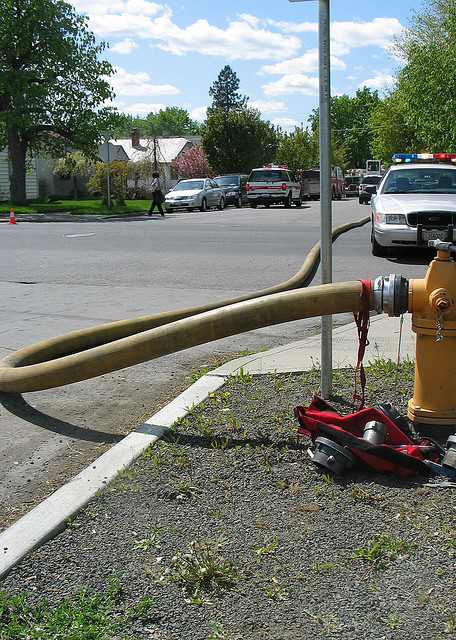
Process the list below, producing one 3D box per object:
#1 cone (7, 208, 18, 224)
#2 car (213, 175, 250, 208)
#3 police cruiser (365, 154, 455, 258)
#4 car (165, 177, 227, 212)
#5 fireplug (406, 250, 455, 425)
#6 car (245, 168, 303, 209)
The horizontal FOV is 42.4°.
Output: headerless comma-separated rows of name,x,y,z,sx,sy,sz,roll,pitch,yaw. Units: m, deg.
cone,-8.556,-4.049,23.069,0.569,0.552,0.534,0,8,-7
car,0.340,-8.255,37.147,1.631,1.286,3.277,1,8,17
police cruiser,3.641,-2.115,10.863,1.979,1.652,4.266,0,15,9
car,-1.833,-6.728,31.875,2.201,1.788,4.277,0,12,17
fireplug,0.972,0.100,2.814,0.225,0.859,0.287,0,12,16
car,2.633,-7.449,33.283,2.159,2.272,2.854,2,13,26
